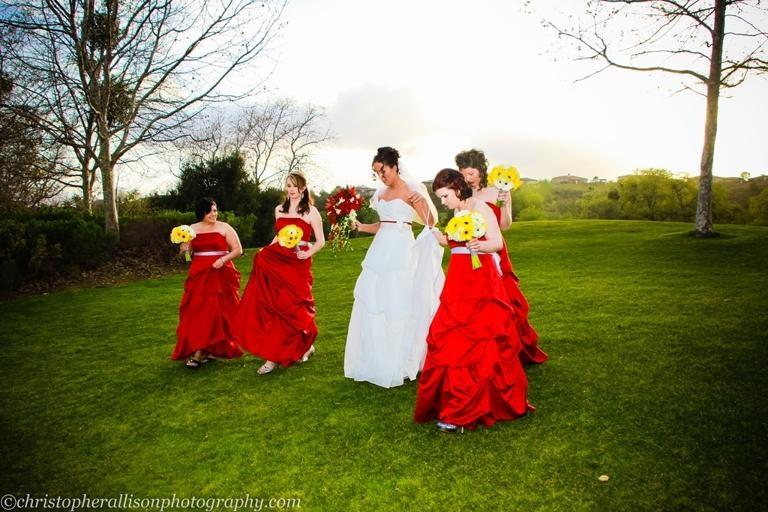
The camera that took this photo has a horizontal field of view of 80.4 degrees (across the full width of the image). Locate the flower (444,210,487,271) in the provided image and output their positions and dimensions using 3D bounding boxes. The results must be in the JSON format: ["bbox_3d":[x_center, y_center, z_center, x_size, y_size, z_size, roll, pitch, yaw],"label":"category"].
[{"bbox_3d":[1.115,-0.406,6.332,0.552,0.449,0.337,3,7,37],"label":"flower"}]

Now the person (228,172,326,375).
[{"bbox_3d":[-1.821,0.272,8.128,1.492,3.516,0.626,-3,6,-15],"label":"person"}]

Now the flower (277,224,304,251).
[{"bbox_3d":[-1.638,-0.333,7.977,0.463,0.420,0.329,-2,6,-13],"label":"flower"}]

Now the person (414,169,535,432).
[{"bbox_3d":[1.230,0.935,6.403,1.472,2.881,0.725,0,5,10],"label":"person"}]

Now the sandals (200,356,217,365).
[{"bbox_3d":[-3.237,1.925,8.399,0.145,0.105,0.144,7,-9,-36],"label":"sandals"}]

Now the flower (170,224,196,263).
[{"bbox_3d":[-3.648,-0.249,8.314,0.404,0.575,0.463,-9,17,-35],"label":"flower"}]
